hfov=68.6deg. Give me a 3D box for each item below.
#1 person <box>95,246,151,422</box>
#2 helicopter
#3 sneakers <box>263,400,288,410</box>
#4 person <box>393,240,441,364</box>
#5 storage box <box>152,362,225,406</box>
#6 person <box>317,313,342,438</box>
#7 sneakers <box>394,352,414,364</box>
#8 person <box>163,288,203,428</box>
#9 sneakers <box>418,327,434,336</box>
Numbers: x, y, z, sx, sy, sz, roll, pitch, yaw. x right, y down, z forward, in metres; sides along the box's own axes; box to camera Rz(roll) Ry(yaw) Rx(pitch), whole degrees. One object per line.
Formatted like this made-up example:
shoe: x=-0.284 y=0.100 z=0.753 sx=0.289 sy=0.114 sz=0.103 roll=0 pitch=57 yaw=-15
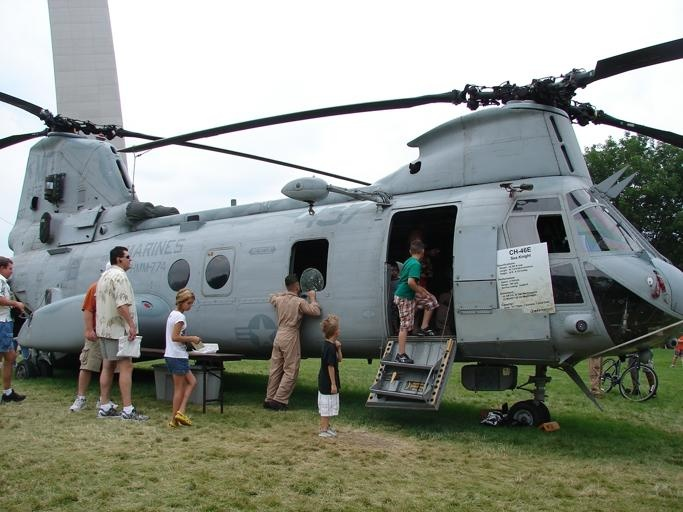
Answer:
person: x=-3.202 y=1.093 z=7.193 sx=0.698 sy=2.439 sz=0.565 roll=-1 pitch=-7 yaw=33
helicopter: x=-0.162 y=-0.227 z=10.122 sx=10.624 sy=3.497 sz=8.022 roll=-3 pitch=-3 yaw=28
sneakers: x=-1.090 y=2.414 z=8.122 sx=0.435 sy=0.138 sz=0.133 roll=5 pitch=-2 yaw=-8
person: x=1.059 y=0.669 z=7.470 sx=0.383 sy=1.775 sz=0.583 roll=-2 pitch=-8 yaw=43
storage box: x=-2.692 y=2.202 z=8.487 sx=1.171 sy=0.506 sz=0.803 roll=-1 pitch=-5 yaw=16
person: x=-0.175 y=1.591 z=6.723 sx=0.277 sy=1.563 sz=0.287 roll=4 pitch=-6 yaw=0
sneakers: x=0.882 y=1.476 z=7.184 sx=0.298 sy=0.099 sz=0.096 roll=5 pitch=-1 yaw=12
person: x=-2.349 y=1.432 z=7.331 sx=0.489 sy=1.895 sz=0.932 roll=5 pitch=-6 yaw=-18
sneakers: x=1.276 y=1.138 z=7.534 sx=0.322 sy=0.110 sz=0.105 roll=0 pitch=1 yaw=-25
